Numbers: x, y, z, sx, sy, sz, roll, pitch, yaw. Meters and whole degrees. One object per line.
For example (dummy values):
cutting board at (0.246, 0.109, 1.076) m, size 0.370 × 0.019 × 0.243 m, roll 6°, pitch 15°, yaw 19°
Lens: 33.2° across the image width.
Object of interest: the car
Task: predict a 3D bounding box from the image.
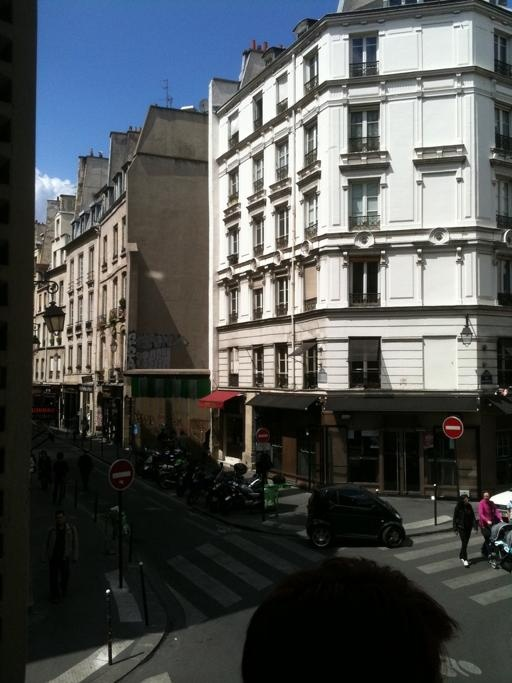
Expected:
car at (1.944, 3.398, 17.269) m, size 1.591 × 1.171 × 1.100 m, roll -2°, pitch -3°, yaw 0°

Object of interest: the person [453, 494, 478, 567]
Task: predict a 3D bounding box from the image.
person at (3.883, 3.433, 15.861) m, size 0.384 × 1.196 × 2.148 m, roll 0°, pitch -1°, yaw 14°

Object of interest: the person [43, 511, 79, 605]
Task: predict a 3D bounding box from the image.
person at (-2.970, 3.206, 13.008) m, size 0.437 × 1.384 × 0.297 m, roll 2°, pitch 16°, yaw -17°

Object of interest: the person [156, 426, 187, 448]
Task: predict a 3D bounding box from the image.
person at (-3.569, 4.127, 35.725) m, size 1.295 × 1.089 × 0.931 m, roll -2°, pitch 0°, yaw -2°

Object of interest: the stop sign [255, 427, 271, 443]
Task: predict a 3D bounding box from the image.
stop sign at (0.161, 2.448, 22.263) m, size 0.316 × 0.432 × 1.178 m, roll 0°, pitch -1°, yaw -1°

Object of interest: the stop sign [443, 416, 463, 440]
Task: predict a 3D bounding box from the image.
stop sign at (4.537, 1.958, 19.600) m, size 0.351 × 0.468 × 1.012 m, roll 0°, pitch -1°, yaw 20°
